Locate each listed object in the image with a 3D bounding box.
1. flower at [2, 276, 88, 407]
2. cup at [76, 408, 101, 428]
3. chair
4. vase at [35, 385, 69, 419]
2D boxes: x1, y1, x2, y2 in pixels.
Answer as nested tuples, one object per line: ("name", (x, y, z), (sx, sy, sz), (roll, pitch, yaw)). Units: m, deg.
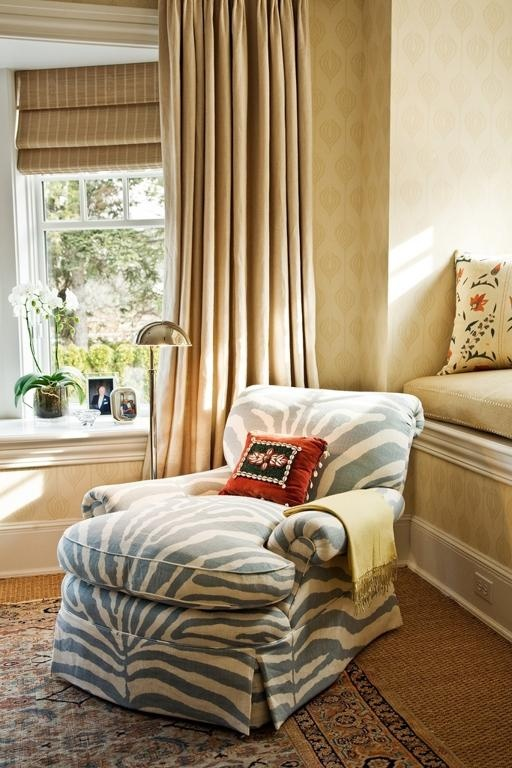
("flower", (-0.970, -0.160, 2.853), (0.335, 0.626, 0.438), (-1, 2, -22))
("cup", (-0.741, 0.155, 2.717), (0.077, 0.059, 0.081), (-2, -3, 0))
("chair", (0.006, 0.355, 1.851), (0.763, 0.755, 0.938), (2, 2, 37))
("vase", (-0.905, 0.083, 2.731), (0.129, 0.141, 0.126), (3, 0, -11))
